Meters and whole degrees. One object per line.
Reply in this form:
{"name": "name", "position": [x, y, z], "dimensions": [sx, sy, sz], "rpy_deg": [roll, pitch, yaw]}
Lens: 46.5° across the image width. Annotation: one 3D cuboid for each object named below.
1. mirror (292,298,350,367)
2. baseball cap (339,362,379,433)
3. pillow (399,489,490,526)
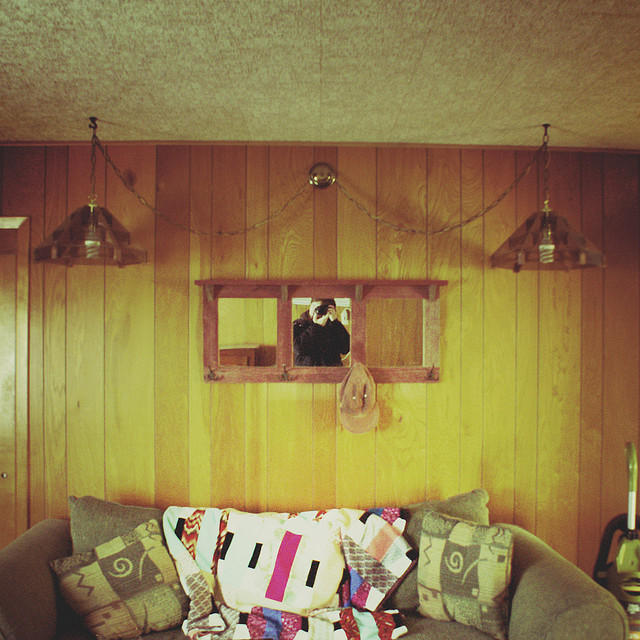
{"name": "mirror", "position": [0.005, 0.060, 3.276], "dimensions": [0.246, 0.294, 0.041], "rpy_deg": [0, 3, -6]}
{"name": "baseball cap", "position": [0.163, 0.326, 3.153], "dimensions": [0.163, 0.296, 0.091], "rpy_deg": [0, 0, 15]}
{"name": "pillow", "position": [0.562, 0.782, 3.100], "dimensions": [0.291, 0.154, 0.230], "rpy_deg": [3, 5, -1]}
